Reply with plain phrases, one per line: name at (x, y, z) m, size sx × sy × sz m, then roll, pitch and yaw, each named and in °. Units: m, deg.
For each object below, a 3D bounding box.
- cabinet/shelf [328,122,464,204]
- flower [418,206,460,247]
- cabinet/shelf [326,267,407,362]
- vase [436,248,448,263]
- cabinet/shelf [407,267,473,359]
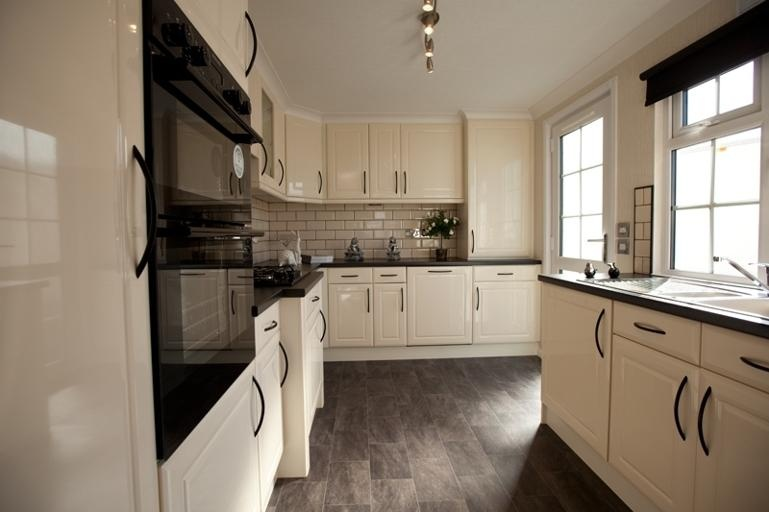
cabinet/shelf at (0.085, -0.865, 4.845) m, size 1.232 × 0.711 × 0.170 m, roll -1°, pitch 10°, yaw 1°
flower at (0.527, -0.277, 5.072) m, size 0.332 × 0.362 × 0.275 m, roll 0°, pitch -2°, yaw -45°
cabinet/shelf at (-0.149, 0.434, 4.849) m, size 0.930 × 1.018 × 0.584 m, roll 0°, pitch -2°, yaw -2°
vase at (0.542, -0.017, 5.005) m, size 0.105 × 0.094 × 0.119 m, roll 0°, pitch -2°, yaw 21°
cabinet/shelf at (0.392, 0.524, 4.887) m, size 0.737 × 0.921 × 0.583 m, roll 0°, pitch -2°, yaw -1°
